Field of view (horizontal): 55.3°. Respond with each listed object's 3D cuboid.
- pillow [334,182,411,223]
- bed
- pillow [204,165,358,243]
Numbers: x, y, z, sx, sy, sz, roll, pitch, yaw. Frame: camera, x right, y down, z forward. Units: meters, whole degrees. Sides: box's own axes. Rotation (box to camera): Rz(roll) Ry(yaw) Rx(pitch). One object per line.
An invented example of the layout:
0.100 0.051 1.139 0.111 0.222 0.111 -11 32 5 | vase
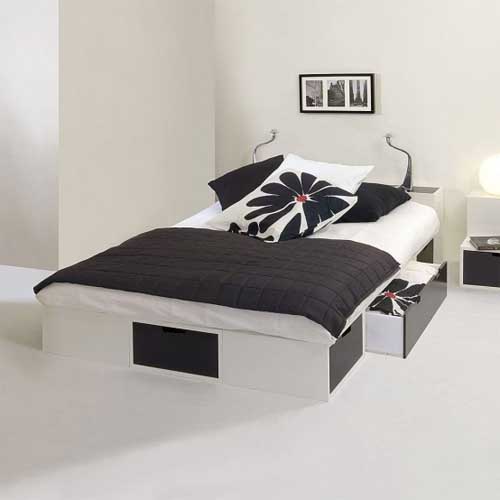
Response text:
0.819 -0.316 3.107 0.340 0.111 0.356 -33 23 -35 | pillow
-0.025 0.011 2.540 1.548 0.844 1.464 3 11 23 | bed
0.229 -0.276 2.807 0.562 0.166 0.540 6 38 44 | pillow
